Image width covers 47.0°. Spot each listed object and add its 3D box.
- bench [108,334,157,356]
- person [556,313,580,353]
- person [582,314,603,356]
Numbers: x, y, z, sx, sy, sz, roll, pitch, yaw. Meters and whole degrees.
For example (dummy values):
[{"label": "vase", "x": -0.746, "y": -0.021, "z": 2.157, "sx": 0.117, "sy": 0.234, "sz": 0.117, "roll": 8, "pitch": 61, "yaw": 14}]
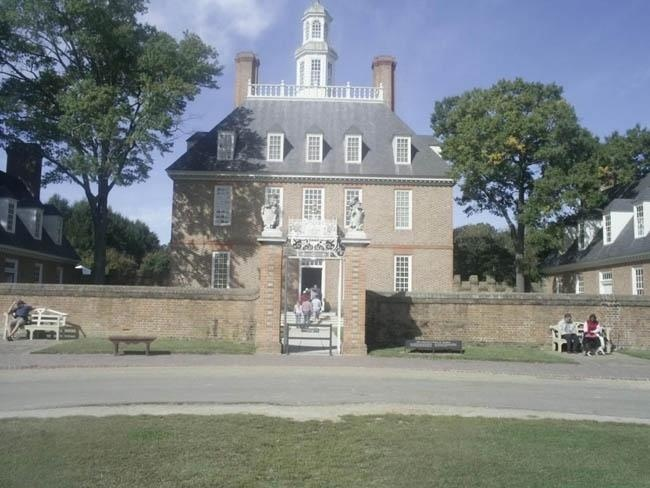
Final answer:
[{"label": "bench", "x": -7.409, "y": 3.795, "z": 28.571, "sx": 1.531, "sy": 0.725, "sz": 2.775, "roll": 2, "pitch": -8, "yaw": -16}, {"label": "person", "x": 10.323, "y": 3.719, "z": 31.679, "sx": 0.886, "sy": 1.622, "sz": 0.864, "roll": -2, "pitch": -7, "yaw": 18}, {"label": "person", "x": 11.221, "y": 3.768, "z": 31.440, "sx": 1.122, "sy": 1.711, "sz": 0.737, "roll": 4, "pitch": -8, "yaw": -31}]
